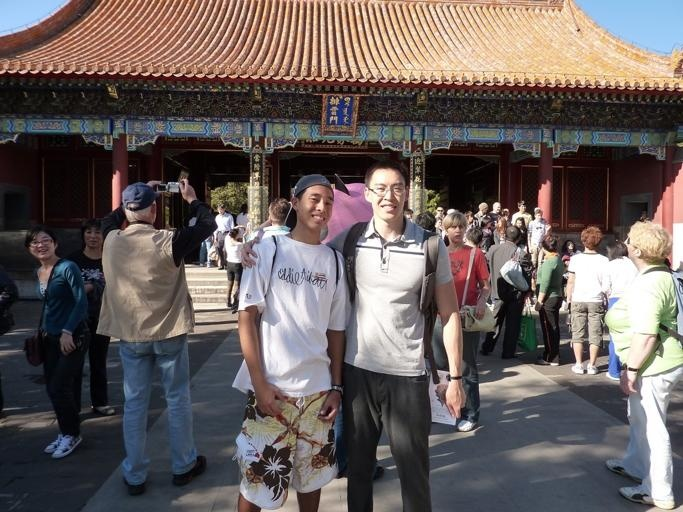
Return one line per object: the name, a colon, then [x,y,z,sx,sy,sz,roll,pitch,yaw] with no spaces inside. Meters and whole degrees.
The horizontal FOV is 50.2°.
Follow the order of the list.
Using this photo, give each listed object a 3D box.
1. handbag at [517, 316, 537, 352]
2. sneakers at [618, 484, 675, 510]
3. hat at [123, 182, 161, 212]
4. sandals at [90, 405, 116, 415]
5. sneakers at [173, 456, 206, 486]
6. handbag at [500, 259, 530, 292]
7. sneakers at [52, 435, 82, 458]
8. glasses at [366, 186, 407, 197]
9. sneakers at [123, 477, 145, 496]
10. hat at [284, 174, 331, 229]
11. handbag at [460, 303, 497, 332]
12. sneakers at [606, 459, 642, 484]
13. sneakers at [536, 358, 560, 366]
handbag: [2.719,1.132,10.746,0.244,0.721,0.520,1,-5,1]
sneakers: [3.158,2.453,7.675,0.568,0.256,0.213,12,-7,14]
hat: [-2.164,-0.645,7.866,0.362,0.289,0.227,-1,6,-15]
sandals: [-2.920,1.906,8.995,0.292,0.133,0.114,2,3,3]
sneakers: [-1.610,2.315,7.867,0.154,0.207,0.433,8,21,21]
handbag: [2.528,0.299,10.784,0.173,0.417,0.439,-35,-14,-15]
sneakers: [-3.087,2.144,8.224,0.114,0.151,0.360,2,5,12]
glasses: [0.433,-0.631,7.012,0.353,0.109,0.079,1,6,4]
sneakers: [-2.171,2.418,7.730,0.103,0.127,0.279,0,6,-10]
hat: [-0.326,-0.526,7.064,0.457,0.534,0.235,1,5,6]
handbag: [1.645,0.746,8.901,0.407,0.414,0.171,2,-28,-27]
sneakers: [3.061,2.305,7.918,0.349,0.161,0.130,33,12,26]
sneakers: [3.006,1.557,10.654,0.291,0.142,0.112,7,0,19]
